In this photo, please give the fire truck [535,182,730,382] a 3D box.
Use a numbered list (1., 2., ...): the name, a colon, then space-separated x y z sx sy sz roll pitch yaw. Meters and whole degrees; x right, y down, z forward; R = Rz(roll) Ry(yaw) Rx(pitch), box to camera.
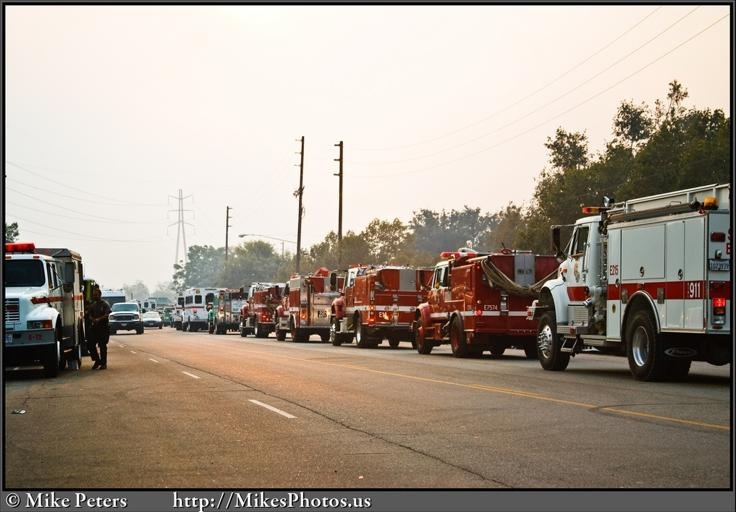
1. fire truck: 6.987 0.714 17.018 1.022 5.015 5.721 2 -7 -20
